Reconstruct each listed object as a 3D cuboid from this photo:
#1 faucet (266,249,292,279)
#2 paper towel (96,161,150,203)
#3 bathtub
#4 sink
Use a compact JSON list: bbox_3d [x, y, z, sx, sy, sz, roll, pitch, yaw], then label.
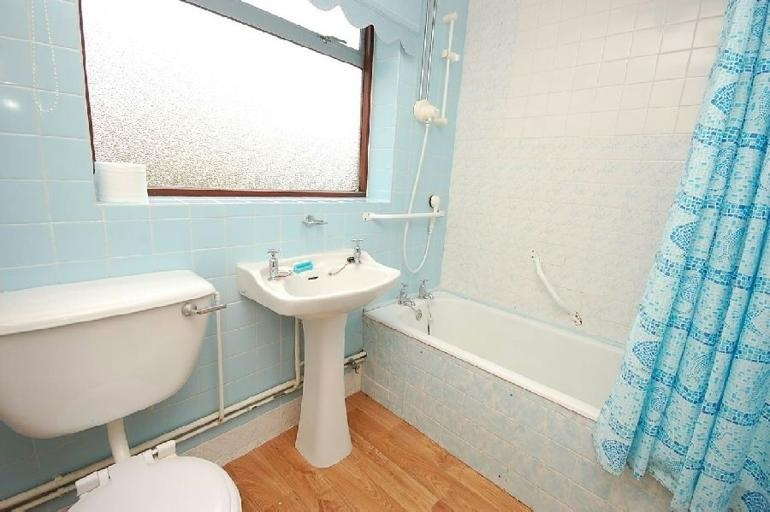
[{"bbox_3d":[-0.544,0.037,2.452,0.121,0.157,0.091,-5,19,-13],"label":"faucet"},{"bbox_3d":[-1.218,-0.340,2.202,0.107,0.168,0.191,18,17,42],"label":"paper towel"},{"bbox_3d":[0.647,0.623,2.948,1.430,0.471,0.770,12,21,35],"label":"bathtub"},{"bbox_3d":[-0.323,0.145,2.509,0.762,0.239,0.519,-11,20,-32],"label":"sink"}]
